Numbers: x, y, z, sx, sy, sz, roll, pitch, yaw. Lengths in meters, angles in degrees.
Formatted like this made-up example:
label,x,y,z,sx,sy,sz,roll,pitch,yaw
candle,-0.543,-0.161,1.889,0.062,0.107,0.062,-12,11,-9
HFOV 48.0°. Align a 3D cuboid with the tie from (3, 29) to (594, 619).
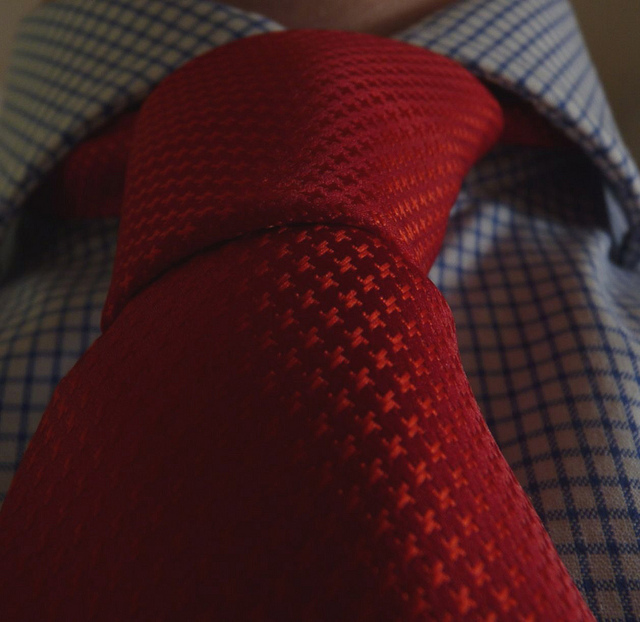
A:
label,x,y,z,sx,sy,sz,roll,pitch,yaw
tie,-0.003,-0.026,0.299,0.197,0.075,0.307,10,59,-4
